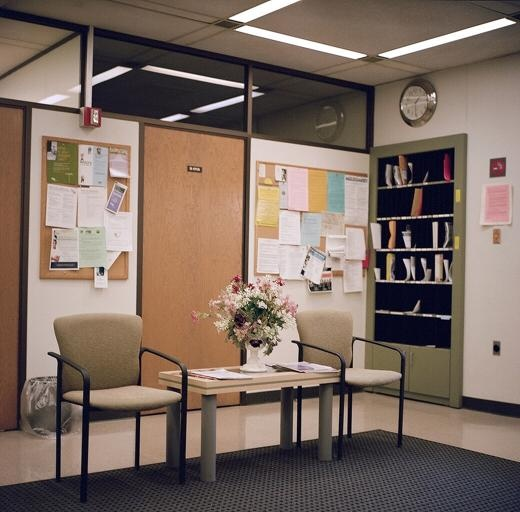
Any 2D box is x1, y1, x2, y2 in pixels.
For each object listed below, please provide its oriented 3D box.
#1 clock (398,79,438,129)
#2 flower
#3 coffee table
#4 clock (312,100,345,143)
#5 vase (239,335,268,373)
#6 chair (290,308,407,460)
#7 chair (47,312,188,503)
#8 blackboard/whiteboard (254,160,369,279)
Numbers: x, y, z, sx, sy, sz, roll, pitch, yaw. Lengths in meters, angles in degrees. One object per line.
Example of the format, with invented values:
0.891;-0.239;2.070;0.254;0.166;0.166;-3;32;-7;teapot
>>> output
1.591;-1.516;5.066;0.053;0.578;0.480;0;-3;-29;clock
-0.065;0.360;3.158;0.571;0.496;0.566;2;2;4;flower
-0.008;0.974;3.019;0.835;0.579;0.494;1;-6;-25;coffee table
0.720;-1.398;5.299;0.384;0.451;0.078;0;2;-31;clock
-0.030;0.576;3.048;0.166;0.222;0.168;11;6;21;vase
0.582;0.860;3.382;0.633;1.035;0.673;1;-9;-16;chair
-0.731;0.772;2.630;0.612;0.948;0.665;0;-6;-9;chair
0.456;-0.345;4.942;1.019;1.009;0.024;1;-3;-35;blackboard/whiteboard
